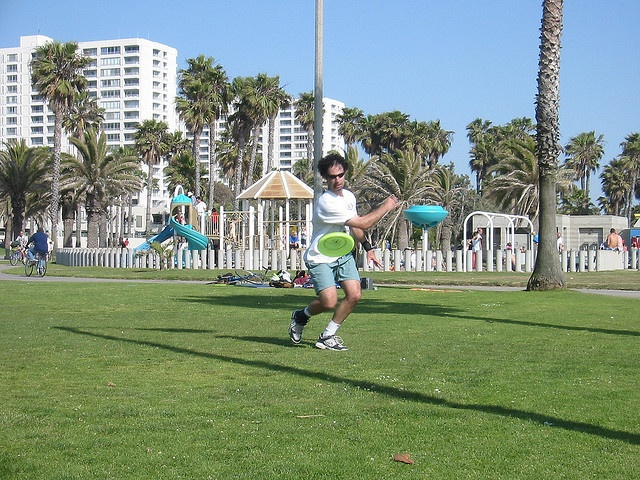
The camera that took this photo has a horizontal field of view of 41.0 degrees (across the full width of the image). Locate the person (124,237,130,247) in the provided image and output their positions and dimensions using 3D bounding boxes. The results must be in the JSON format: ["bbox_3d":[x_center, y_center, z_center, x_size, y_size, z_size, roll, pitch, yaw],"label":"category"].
[{"bbox_3d":[-17.444,0.119,77.709,0.658,0.800,2.058,9,-2,-16],"label":"person"}]

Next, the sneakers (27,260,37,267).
[{"bbox_3d":[-10.232,0.807,30.584,0.254,0.124,0.356,1,2,1],"label":"sneakers"}]

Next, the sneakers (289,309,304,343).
[{"bbox_3d":[-0.266,1.121,11.204,0.157,0.467,0.208,-3,4,-25],"label":"sneakers"}]

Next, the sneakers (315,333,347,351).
[{"bbox_3d":[0.169,1.284,10.827,0.422,0.200,0.158,3,1,10],"label":"sneakers"}]

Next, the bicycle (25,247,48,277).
[{"bbox_3d":[-10.161,0.864,31.006,0.719,0.855,1.445,2,2,-43],"label":"bicycle"}]

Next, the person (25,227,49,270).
[{"bbox_3d":[-10.078,0.284,30.663,0.687,1.344,1.182,2,-3,-19],"label":"person"}]

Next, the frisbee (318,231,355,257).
[{"bbox_3d":[0.186,0.046,10.551,0.314,0.074,0.315,8,-48,-3],"label":"frisbee"}]

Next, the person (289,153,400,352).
[{"bbox_3d":[0.234,0.108,10.743,1.138,2.518,1.512,1,-3,-3],"label":"person"}]

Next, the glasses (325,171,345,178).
[{"bbox_3d":[0.201,-0.789,10.430,0.223,0.082,0.164,2,-3,-6],"label":"glasses"}]
